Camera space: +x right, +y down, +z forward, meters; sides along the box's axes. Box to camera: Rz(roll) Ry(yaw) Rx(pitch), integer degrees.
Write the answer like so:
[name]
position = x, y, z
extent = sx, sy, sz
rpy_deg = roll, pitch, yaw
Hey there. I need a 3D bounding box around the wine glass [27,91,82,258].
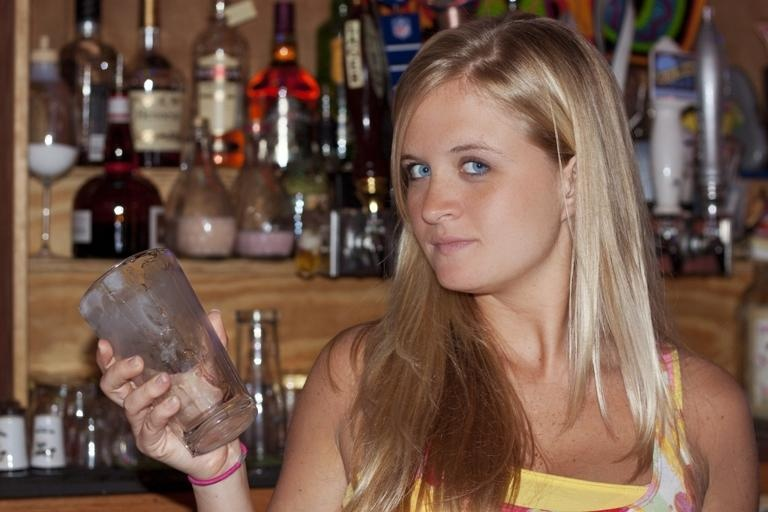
[wine glass]
position = -0.913, -0.237, 2.708
extent = 0.135, 0.476, 0.173
rpy_deg = -4, 3, -18
